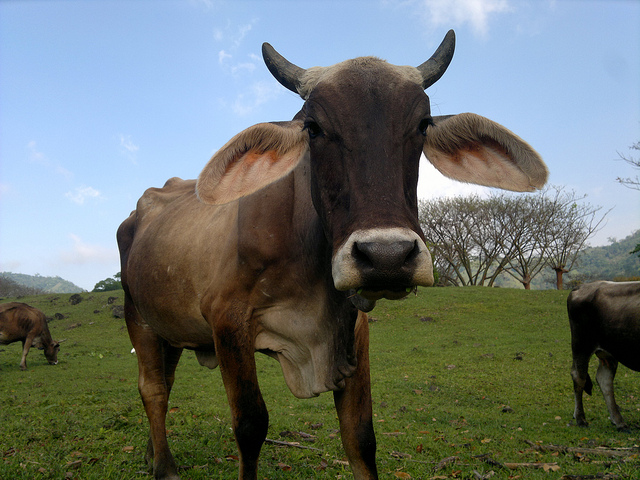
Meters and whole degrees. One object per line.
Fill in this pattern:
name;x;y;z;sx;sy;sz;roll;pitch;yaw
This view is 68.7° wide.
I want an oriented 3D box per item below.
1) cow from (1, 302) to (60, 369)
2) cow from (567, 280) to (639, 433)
cow;-10.254;3.258;16.502;2.352;2.183;1.847;-4;-8;19
cow;5.831;2.254;9.544;1.095;2.865;1.506;4;-9;-36
